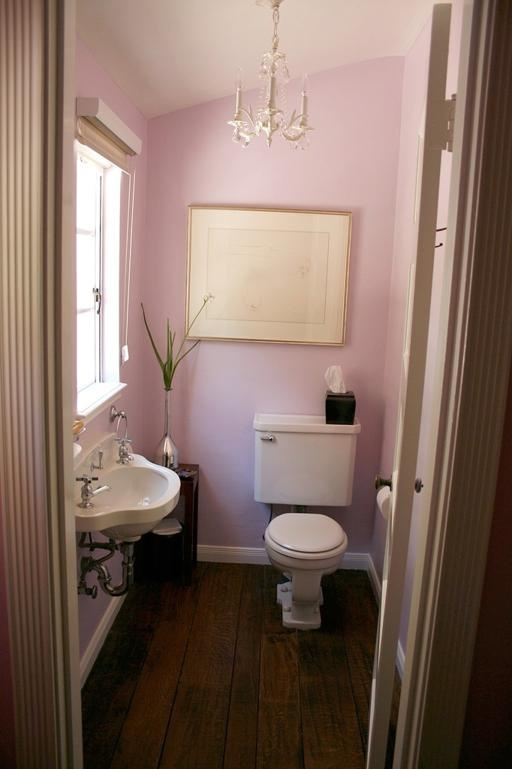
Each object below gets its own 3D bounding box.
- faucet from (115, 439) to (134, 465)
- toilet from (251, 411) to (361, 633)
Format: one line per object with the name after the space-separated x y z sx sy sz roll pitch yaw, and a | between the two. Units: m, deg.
-0.510 0.271 2.179 0.045 0.113 0.091 1 -3 -23 | faucet
0.212 0.632 2.684 0.373 0.851 0.693 1 10 6 | toilet
